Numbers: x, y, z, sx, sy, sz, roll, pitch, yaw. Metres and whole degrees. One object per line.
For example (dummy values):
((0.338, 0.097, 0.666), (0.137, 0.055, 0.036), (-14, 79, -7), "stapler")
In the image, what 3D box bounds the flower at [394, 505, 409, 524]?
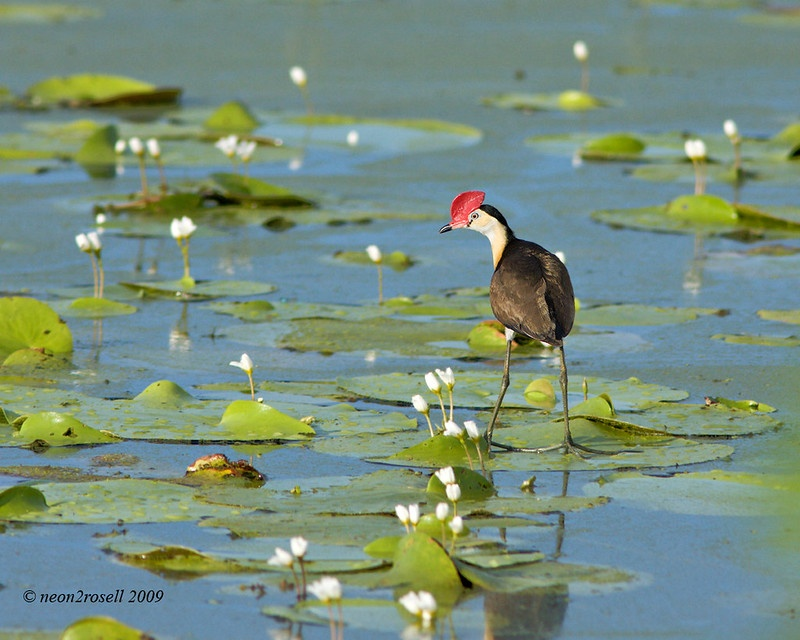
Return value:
((0.008, 0.869, 5.129), (0.078, 0.153, 0.041), (-1, 60, 1), "flower")
